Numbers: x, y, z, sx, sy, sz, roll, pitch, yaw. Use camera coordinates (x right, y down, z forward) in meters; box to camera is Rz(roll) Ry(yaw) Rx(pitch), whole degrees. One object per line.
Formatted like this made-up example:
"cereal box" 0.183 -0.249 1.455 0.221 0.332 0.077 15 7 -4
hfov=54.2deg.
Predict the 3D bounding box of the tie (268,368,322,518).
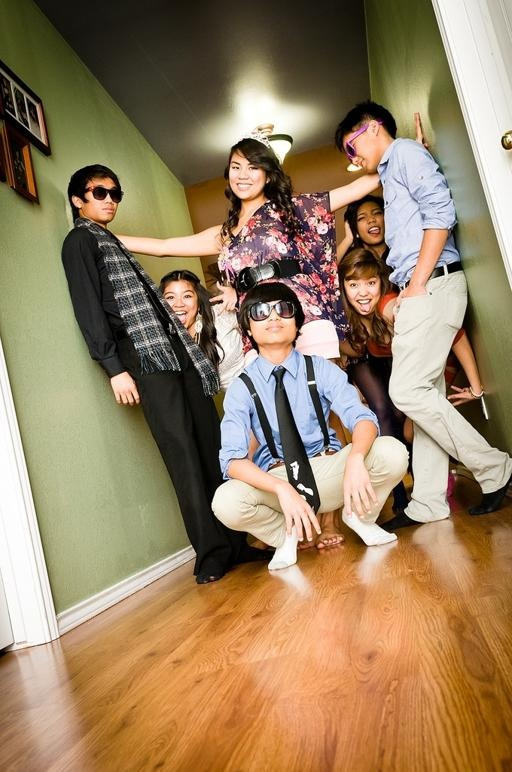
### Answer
"tie" 0.115 0.184 1.598 0.103 0.454 0.065 -19 -16 18

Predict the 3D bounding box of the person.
"person" -0.078 -0.220 2.078 1.184 1.847 0.845 -18 3 -18

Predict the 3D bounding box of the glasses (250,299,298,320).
"glasses" 0.055 -0.249 1.704 0.156 0.076 0.084 -17 2 4

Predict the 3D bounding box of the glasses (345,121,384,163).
"glasses" 0.427 -0.984 1.991 0.104 0.031 0.105 -36 -26 -15
